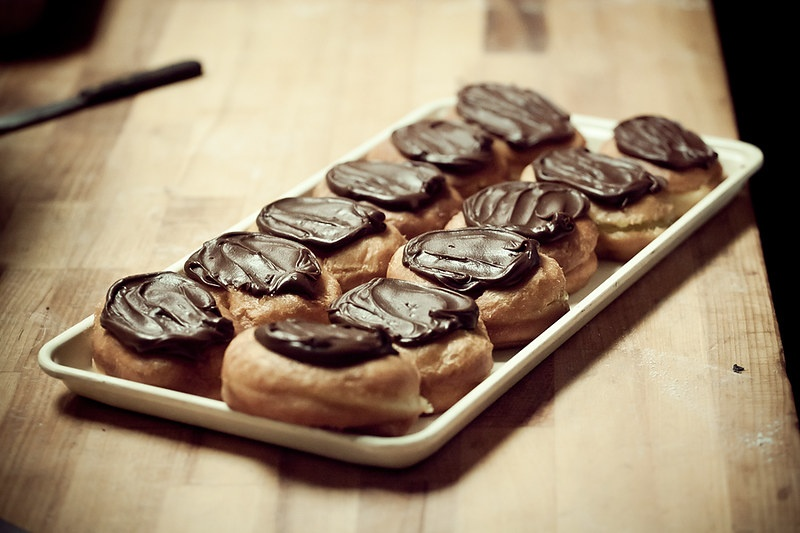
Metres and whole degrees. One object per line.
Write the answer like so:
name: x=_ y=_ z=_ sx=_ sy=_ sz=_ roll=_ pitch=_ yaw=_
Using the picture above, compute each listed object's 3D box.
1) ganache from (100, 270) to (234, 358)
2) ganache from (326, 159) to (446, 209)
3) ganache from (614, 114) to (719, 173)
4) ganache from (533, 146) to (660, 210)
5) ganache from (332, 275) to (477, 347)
ganache: x=-0.587 y=0.114 z=1.922 sx=0.339 sy=0.078 sz=0.247 roll=24 pitch=44 yaw=24
ganache: x=-0.049 y=-0.262 z=2.314 sx=0.264 sy=0.049 sz=0.188 roll=12 pitch=33 yaw=20
ganache: x=0.854 y=-0.397 z=2.443 sx=0.272 sy=0.049 sz=0.191 roll=12 pitch=38 yaw=2
ganache: x=0.606 y=-0.283 z=2.328 sx=0.313 sy=0.070 sz=0.187 roll=18 pitch=42 yaw=27
ganache: x=0.009 y=0.118 z=1.916 sx=0.389 sy=0.075 sz=0.384 roll=0 pitch=28 yaw=-10
